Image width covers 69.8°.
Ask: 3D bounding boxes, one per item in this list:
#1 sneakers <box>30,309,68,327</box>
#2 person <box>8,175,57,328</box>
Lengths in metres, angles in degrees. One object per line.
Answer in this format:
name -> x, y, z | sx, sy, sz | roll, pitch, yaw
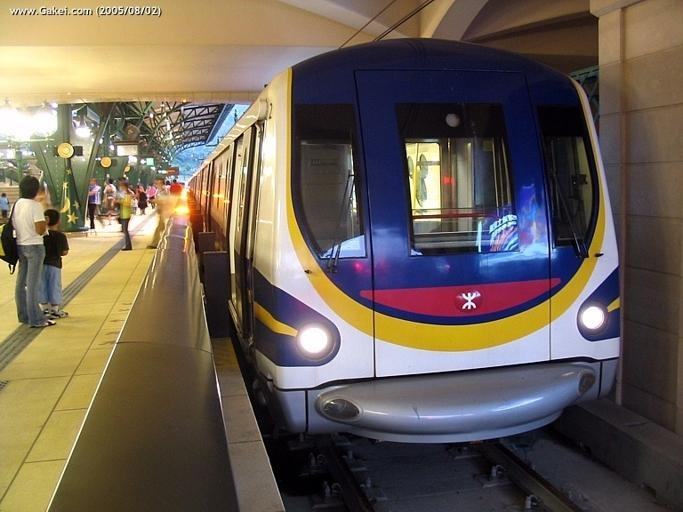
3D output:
sneakers -> -4.931, 1.041, 8.321 | 0.627, 0.292, 0.233 | -3, 2, 16
person -> -4.888, -0.020, 7.680 | 0.675, 2.457, 0.849 | 6, 5, -24
